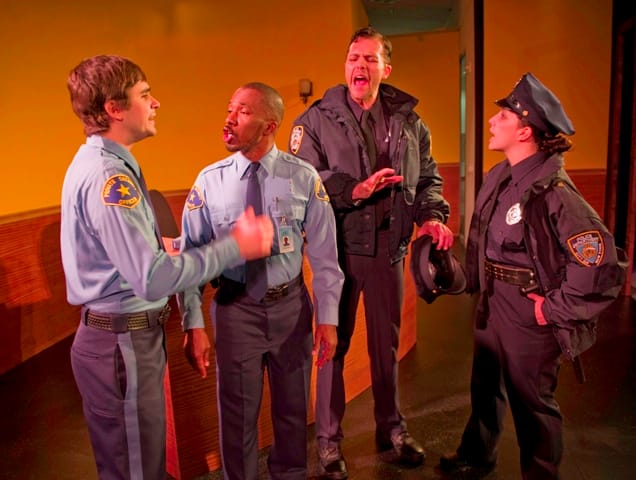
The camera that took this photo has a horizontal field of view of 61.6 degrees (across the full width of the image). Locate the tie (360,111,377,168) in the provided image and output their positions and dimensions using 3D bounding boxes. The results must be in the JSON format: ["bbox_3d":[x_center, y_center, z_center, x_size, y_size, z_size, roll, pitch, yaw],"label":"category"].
[{"bbox_3d":[0.314,-0.633,3.282,0.076,0.409,0.063,-3,-14,-2],"label":"tie"}]

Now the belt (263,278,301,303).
[{"bbox_3d":[-0.176,0.233,2.674,0.133,0.042,0.097,-31,12,-30],"label":"belt"}]

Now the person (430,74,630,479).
[{"bbox_3d":[1.142,0.258,2.889,0.301,2.264,0.904,-9,5,-44],"label":"person"}]

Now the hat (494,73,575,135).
[{"bbox_3d":[1.146,-0.716,2.845,0.364,0.350,0.189,-5,4,21],"label":"hat"}]

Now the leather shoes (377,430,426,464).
[{"bbox_3d":[0.499,1.285,3.390,0.135,0.174,0.367,-1,-1,-36],"label":"leather shoes"}]
